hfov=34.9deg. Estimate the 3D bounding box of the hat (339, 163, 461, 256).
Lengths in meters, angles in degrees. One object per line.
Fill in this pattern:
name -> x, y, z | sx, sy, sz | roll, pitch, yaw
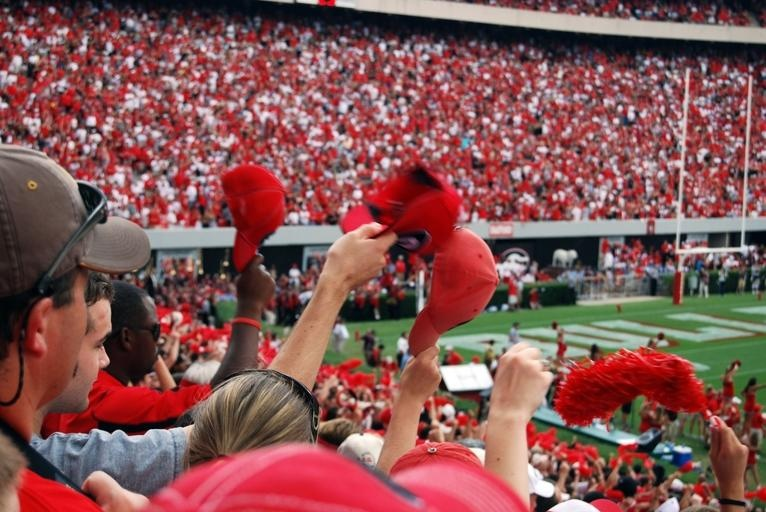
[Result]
hat -> 0.288, -0.533, 14.445 | 1.197, 0.995, 0.684 | -17, -8, -14
